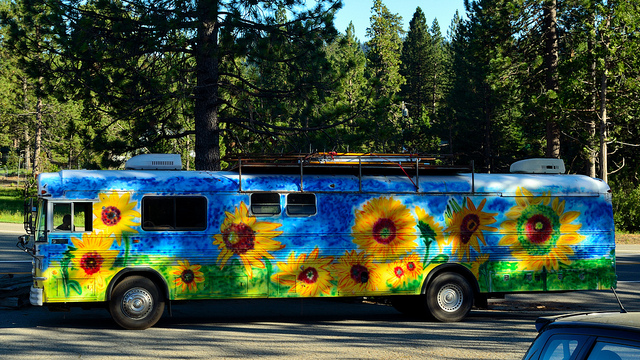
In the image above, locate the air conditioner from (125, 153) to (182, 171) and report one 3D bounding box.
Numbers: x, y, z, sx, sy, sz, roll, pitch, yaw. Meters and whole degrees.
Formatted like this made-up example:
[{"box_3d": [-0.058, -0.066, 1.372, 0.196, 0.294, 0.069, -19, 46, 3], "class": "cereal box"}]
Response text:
[{"box_3d": [-7.977, -0.828, 44.788, 1.943, 0.557, 1.108, -1, 0, -4], "class": "air conditioner"}]
